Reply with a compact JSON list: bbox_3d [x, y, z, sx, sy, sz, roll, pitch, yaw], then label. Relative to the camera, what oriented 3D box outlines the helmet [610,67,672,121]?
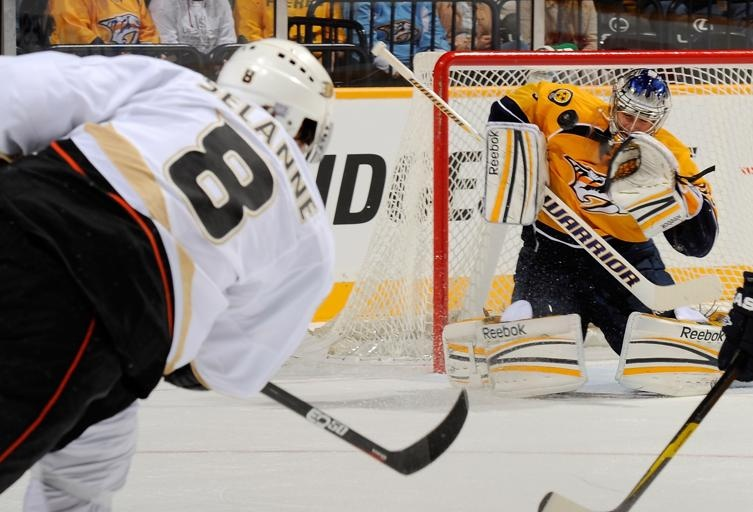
[{"bbox_3d":[1.191,-0.720,3.886,0.202,0.223,0.249,10,60,-4],"label":"helmet"}]

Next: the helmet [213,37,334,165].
[{"bbox_3d":[-0.345,-0.505,2.842,0.419,0.354,0.331,5,3,-35],"label":"helmet"}]

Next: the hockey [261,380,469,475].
[{"bbox_3d":[-0.023,0.626,3.295,0.527,0.224,0.412,35,45,20],"label":"hockey"}]
